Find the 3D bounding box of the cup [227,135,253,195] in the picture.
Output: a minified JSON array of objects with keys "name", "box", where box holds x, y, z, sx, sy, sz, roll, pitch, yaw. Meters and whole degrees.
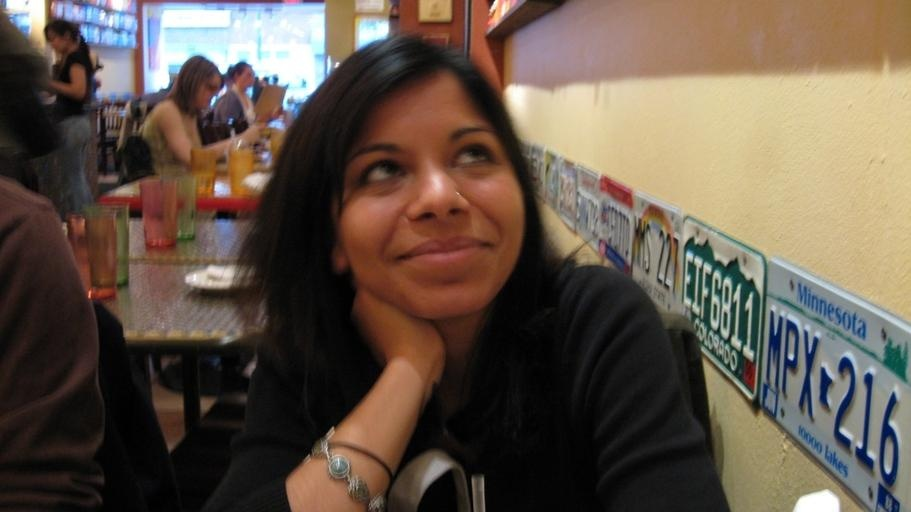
[{"name":"cup","box":[-1.121,-0.452,3.172,0.156,0.280,0.156,0,-2,0]}]
